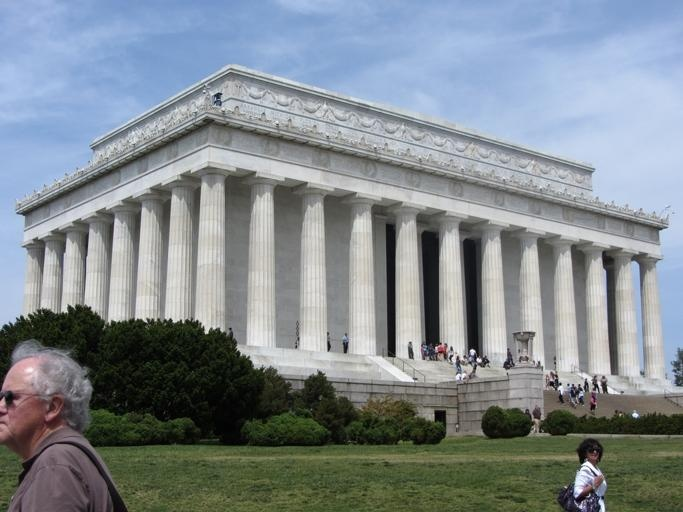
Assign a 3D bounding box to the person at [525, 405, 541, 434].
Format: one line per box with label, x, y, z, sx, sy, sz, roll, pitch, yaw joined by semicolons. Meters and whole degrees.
person;8.725;7.441;45.809;0.705;1.390;2.068;-2;-12;10
